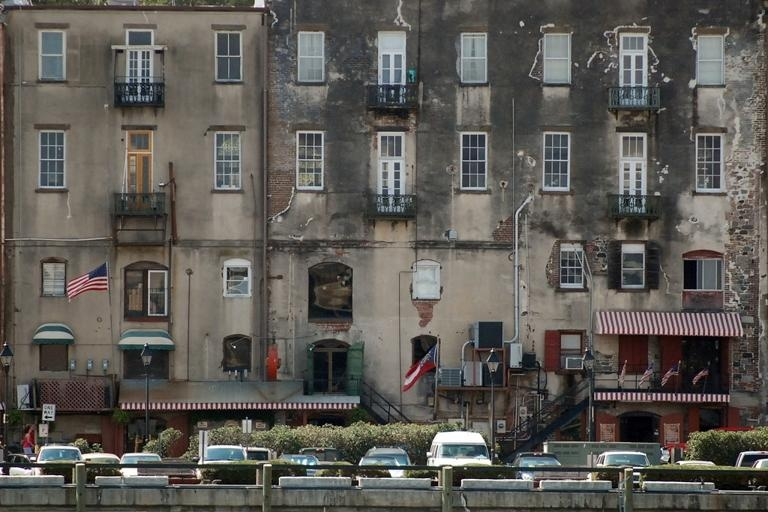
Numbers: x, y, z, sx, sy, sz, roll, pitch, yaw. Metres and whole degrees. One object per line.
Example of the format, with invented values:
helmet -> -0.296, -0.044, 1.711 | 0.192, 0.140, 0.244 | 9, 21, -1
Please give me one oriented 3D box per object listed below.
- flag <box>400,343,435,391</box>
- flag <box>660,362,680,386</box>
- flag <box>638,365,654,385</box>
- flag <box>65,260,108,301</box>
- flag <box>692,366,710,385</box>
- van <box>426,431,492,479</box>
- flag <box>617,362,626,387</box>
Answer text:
flag -> 1.835, 6.194, 146.601 | 1.879, 2.435, 1.008 | 1, 12, -3
flag -> 15.445, 6.457, 146.647 | 0.726, 1.215, 1.488 | 7, 13, 24
flag -> 14.179, 6.502, 147.056 | 0.791, 1.089, 0.903 | 4, 12, 11
flag -> -16.183, 1.464, 146.396 | 2.062, 1.571, 0.228 | -13, 1, 7
flag -> 17.162, 6.547, 146.836 | 0.895, 1.041, 1.435 | 3, 12, 7
van -> 3.629, 9.731, 134.682 | 3.429, 1.396, 2.737 | 9, 13, 33
flag -> 12.893, 6.371, 146.941 | 0.344, 1.182, 1.014 | 4, 12, 9
